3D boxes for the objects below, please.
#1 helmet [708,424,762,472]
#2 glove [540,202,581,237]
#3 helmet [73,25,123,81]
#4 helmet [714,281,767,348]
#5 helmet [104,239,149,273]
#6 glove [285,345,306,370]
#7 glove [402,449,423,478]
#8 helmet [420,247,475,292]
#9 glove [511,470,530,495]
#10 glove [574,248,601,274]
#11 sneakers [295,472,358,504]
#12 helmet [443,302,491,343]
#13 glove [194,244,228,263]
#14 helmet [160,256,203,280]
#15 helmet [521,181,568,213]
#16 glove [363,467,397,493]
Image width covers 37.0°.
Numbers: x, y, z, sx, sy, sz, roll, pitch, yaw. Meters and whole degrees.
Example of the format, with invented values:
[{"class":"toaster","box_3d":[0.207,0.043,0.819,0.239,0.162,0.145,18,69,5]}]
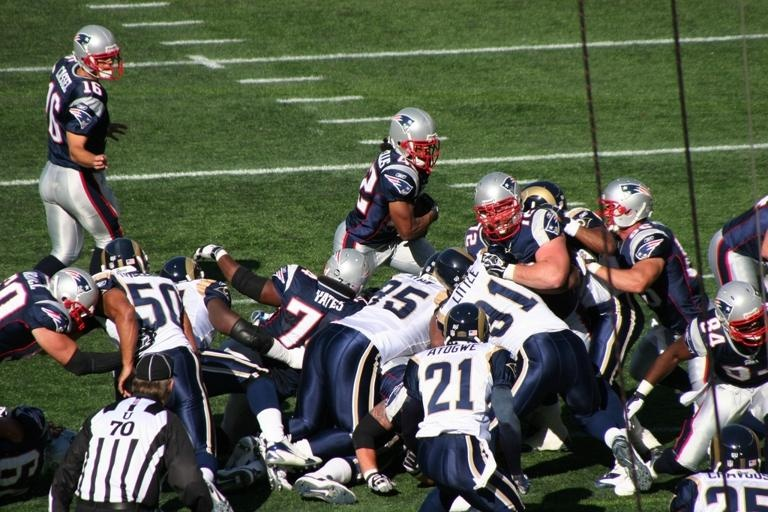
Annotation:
[{"class":"helmet","box_3d":[2.961,1.584,9.452,0.395,0.509,0.516,2,-1,9]},{"class":"glove","box_3d":[1.724,-0.384,11.024,0.390,0.333,0.289,25,15,11]},{"class":"helmet","box_3d":[-3.088,-2.243,12.418,0.536,0.565,0.380,-3,3,-30]},{"class":"helmet","box_3d":[3.191,0.508,10.157,0.394,0.570,0.352,-8,-34,-6]},{"class":"helmet","box_3d":[-2.462,-0.020,10.932,0.303,0.368,0.388,5,22,31]},{"class":"glove","box_3d":[-0.816,0.934,10.657,0.188,0.185,0.056,-11,6,-25]},{"class":"glove","box_3d":[0.260,1.841,10.185,0.166,0.305,0.516,-2,2,1]},{"class":"helmet","box_3d":[0.637,0.082,10.790,0.476,0.382,0.355,28,23,37]},{"class":"glove","box_3d":[1.182,1.925,9.665,0.066,0.263,0.125,9,49,50]},{"class":"glove","box_3d":[1.974,0.038,11.019,0.152,0.121,0.356,-19,47,10]},{"class":"sneakers","box_3d":[-0.485,2.023,10.043,0.606,0.217,0.250,17,11,-1]},{"class":"helmet","box_3d":[0.697,0.551,9.579,0.269,0.316,0.356,1,24,12]},{"class":"glove","box_3d":[-1.778,-0.063,11.805,0.286,0.112,0.224,-16,-6,27]},{"class":"helmet","box_3d":[-1.958,0.103,11.053,0.315,0.252,0.226,-19,16,-26]},{"class":"helmet","box_3d":[1.587,-0.619,11.296,0.313,0.389,0.395,28,17,23]},{"class":"glove","box_3d":[-0.032,1.987,10.164,0.285,0.241,0.348,-2,2,-1]}]
